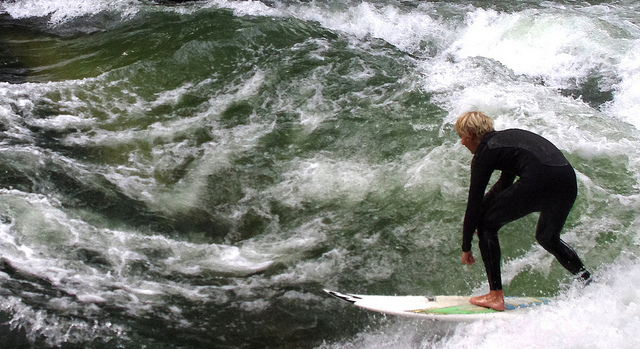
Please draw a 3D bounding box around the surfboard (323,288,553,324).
[{"bbox_3d":[2.804,3.090,16.131,7.121,0.510,0.910,0,33,8],"label":"surfboard"}]
